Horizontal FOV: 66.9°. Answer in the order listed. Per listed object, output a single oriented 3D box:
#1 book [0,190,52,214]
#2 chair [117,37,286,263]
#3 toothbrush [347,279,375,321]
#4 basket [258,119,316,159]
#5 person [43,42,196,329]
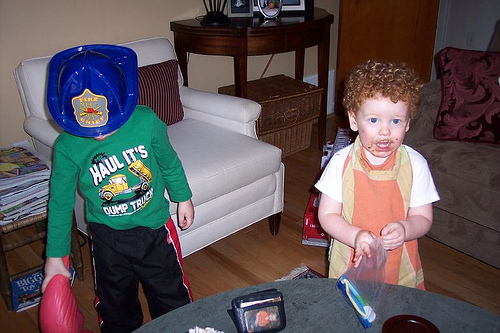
[{"bbox_3d":[-1.142,0.189,1.951,0.187,0.042,0.197,-31,17,-39],"label":"book"},{"bbox_3d":[-0.487,-0.167,2.458,1.152,1.240,0.992,17,25,34],"label":"chair"},{"bbox_3d":[0.373,0.453,1.276,0.128,0.041,0.014,57,16,27],"label":"toothbrush"},{"bbox_3d":[0.345,-0.238,3.308,0.421,0.354,0.384,25,40,33],"label":"basket"},{"bbox_3d":[-0.521,0.221,1.640,0.529,1.390,0.594,-2,29,0],"label":"person"}]
